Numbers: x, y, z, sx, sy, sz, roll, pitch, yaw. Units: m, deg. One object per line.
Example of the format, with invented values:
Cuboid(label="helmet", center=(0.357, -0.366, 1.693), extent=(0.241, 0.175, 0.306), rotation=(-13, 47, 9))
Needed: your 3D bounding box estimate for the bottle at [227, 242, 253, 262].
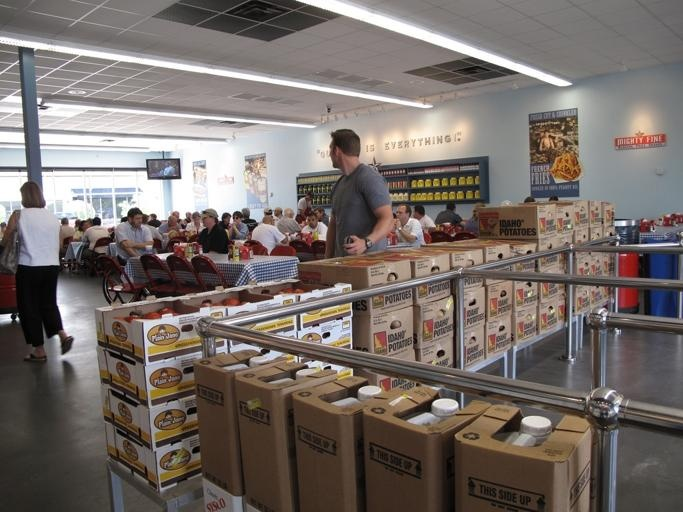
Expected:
Cuboid(label="bottle", center=(-1.175, -0.037, 5.651), extent=(0.318, 0.243, 0.285), rotation=(-1, 2, -23))

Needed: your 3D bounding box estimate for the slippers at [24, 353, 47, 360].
Cuboid(label="slippers", center=(-3.287, 1.083, 5.122), extent=(0.206, 0.054, 0.091), rotation=(3, 4, -3))

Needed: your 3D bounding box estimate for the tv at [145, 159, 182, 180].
Cuboid(label="tv", center=(-7.201, -3.457, 19.300), extent=(1.229, 0.668, 0.153), rotation=(-4, 6, -24))

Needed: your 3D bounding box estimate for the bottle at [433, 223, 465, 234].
Cuboid(label="bottle", center=(2.021, -0.518, 9.150), extent=(0.379, 0.144, 0.460), rotation=(4, 9, 26))

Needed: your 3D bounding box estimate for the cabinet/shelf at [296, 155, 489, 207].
Cuboid(label="cabinet/shelf", center=(1.115, -1.984, 13.861), extent=(6.599, 1.112, 0.612), rotation=(3, 8, 40))
